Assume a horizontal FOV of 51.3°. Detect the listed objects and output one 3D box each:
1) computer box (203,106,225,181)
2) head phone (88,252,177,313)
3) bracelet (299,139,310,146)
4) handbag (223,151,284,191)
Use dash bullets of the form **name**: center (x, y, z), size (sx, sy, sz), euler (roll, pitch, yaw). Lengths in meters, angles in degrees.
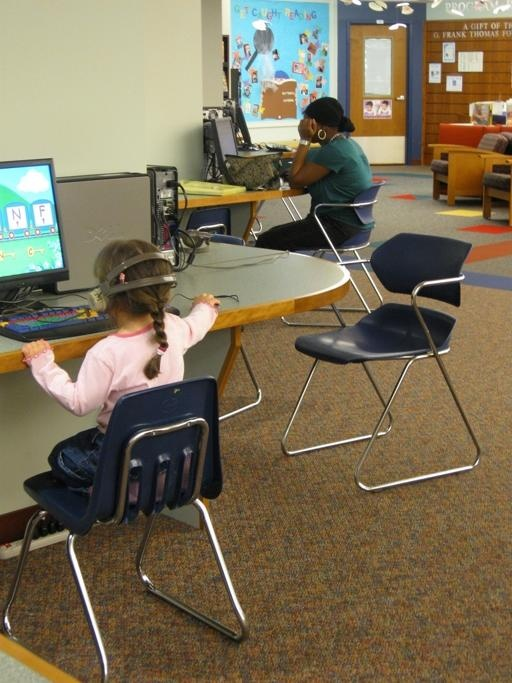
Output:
- **computer box**: center (-0.343, -1.512, 4.246), size (0.204, 0.441, 0.126), euler (-4, 12, 11)
- **head phone**: center (-0.381, -0.185, 1.525), size (0.224, 0.117, 0.180), euler (-3, 24, 29)
- **bracelet**: center (0.412, -1.698, 4.546), size (0.092, 0.056, 0.089), euler (0, 8, -15)
- **handbag**: center (-0.033, -1.395, 4.336), size (0.393, 0.244, 0.319), euler (1, 22, 10)
